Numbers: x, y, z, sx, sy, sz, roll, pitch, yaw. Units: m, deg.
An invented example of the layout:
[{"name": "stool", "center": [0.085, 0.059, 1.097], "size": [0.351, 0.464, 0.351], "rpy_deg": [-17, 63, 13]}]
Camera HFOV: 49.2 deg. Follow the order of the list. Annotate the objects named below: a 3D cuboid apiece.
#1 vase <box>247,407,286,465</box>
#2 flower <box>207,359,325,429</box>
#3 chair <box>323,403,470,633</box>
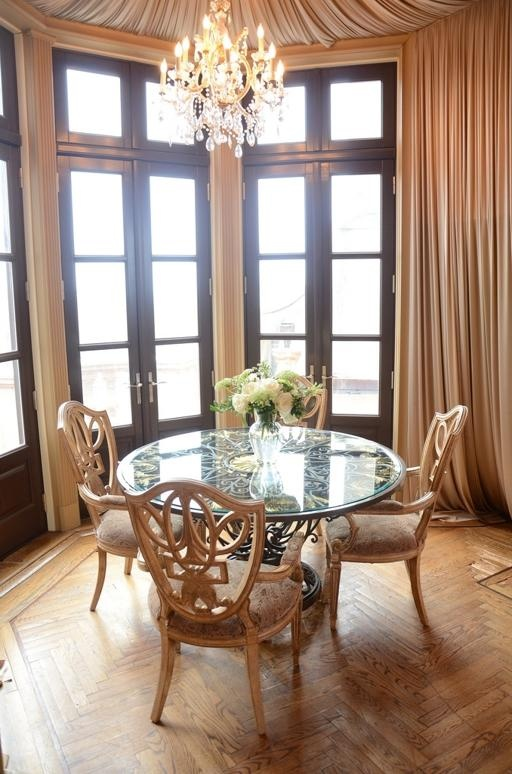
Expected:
[{"name": "vase", "center": [0.040, 0.210, 2.357], "size": [0.140, 0.251, 0.149], "rpy_deg": [-15, 23, -27]}, {"name": "flower", "center": [0.029, 0.030, 2.368], "size": [0.378, 0.265, 0.325], "rpy_deg": [2, 6, 33]}, {"name": "chair", "center": [0.614, 0.500, 2.858], "size": [0.815, 1.388, 0.860], "rpy_deg": [1, 6, 6]}]
